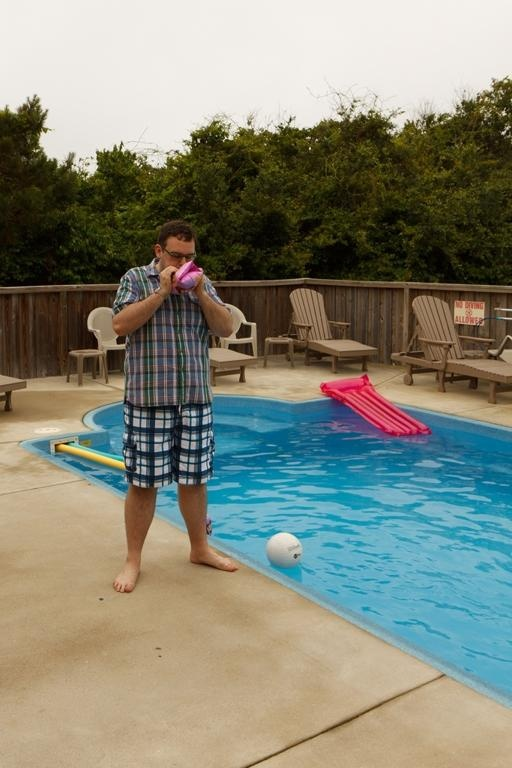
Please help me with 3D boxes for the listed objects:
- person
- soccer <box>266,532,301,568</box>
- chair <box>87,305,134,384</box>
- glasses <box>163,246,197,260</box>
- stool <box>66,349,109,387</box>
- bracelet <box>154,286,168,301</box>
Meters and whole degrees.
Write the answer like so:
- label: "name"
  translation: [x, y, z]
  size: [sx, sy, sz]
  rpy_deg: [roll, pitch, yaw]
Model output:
- label: "person"
  translation: [-0.348, 0.100, 2.539]
  size: [0.451, 1.534, 0.587]
  rpy_deg: [3, 2, 15]
- label: "soccer"
  translation: [0.155, 0.946, 3.311]
  size: [0.191, 0.195, 0.111]
  rpy_deg: [3, 2, 2]
- label: "chair"
  translation: [-2.111, -0.582, 8.604]
  size: [0.637, 0.893, 0.658]
  rpy_deg: [-11, 18, -40]
- label: "glasses"
  translation: [-0.313, -0.521, 2.431]
  size: [0.125, 0.045, 0.116]
  rpy_deg: [2, 2, -9]
- label: "stool"
  translation: [-2.326, -0.273, 8.356]
  size: [0.625, 0.591, 0.616]
  rpy_deg: [-4, 4, -43]
- label: "bracelet"
  translation: [-0.356, -0.342, 2.268]
  size: [0.055, 0.054, 0.014]
  rpy_deg: [6, 15, 22]
